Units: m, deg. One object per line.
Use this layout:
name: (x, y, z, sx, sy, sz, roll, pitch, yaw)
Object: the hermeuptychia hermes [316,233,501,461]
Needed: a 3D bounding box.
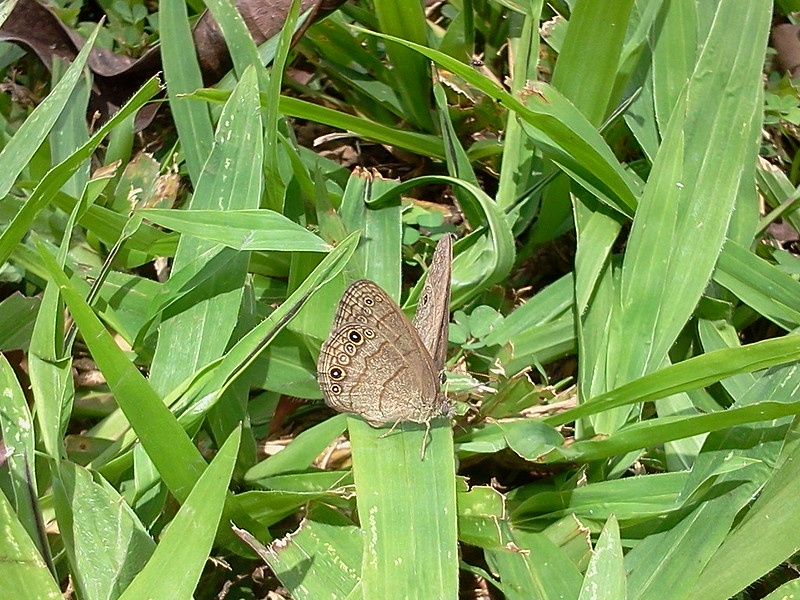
hermeuptychia hermes: (0.019, 0.134, 1.990, 0.315, 0.471, 0.470, 9, 14, 23)
